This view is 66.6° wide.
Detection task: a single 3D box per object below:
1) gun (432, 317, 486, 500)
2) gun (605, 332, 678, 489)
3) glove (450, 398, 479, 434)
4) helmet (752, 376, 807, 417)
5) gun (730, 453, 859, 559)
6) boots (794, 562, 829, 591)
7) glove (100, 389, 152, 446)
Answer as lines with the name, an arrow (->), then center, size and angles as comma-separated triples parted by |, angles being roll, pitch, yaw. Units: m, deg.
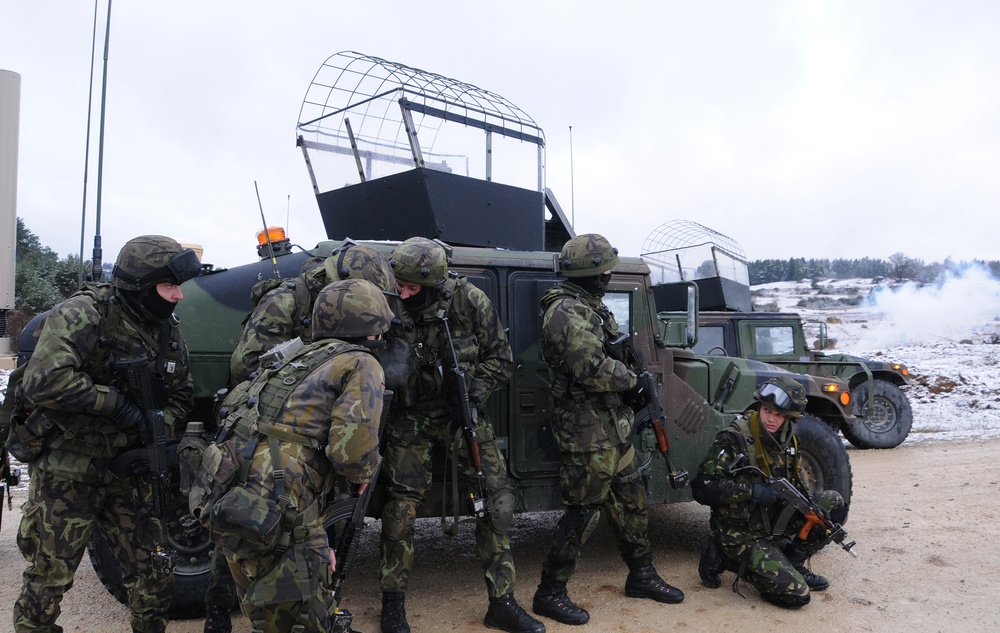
gun -> -0.319, 0.678, 6.146 | 0.185, 1.458, 0.420 | -11, 1, -16
gun -> 1.196, 0.857, 6.594 | 0.553, 1.402, 0.192 | -19, 2, -20
glove -> -0.271, 0.773, 6.094 | 0.169, 0.303, 0.114 | -3, -3, 10
helmet -> 2.498, 0.721, 6.762 | 0.305, 0.318, 0.409 | 15, -26, 28
gun -> 2.507, 1.718, 6.670 | 1.164, 0.501, 0.123 | 39, -12, 31
boots -> 2.802, 2.306, 6.778 | 0.412, 0.297, 0.142 | 9, -9, -36
glove -> -2.711, 0.752, 5.606 | 0.256, 0.438, 0.189 | -33, 16, -12
